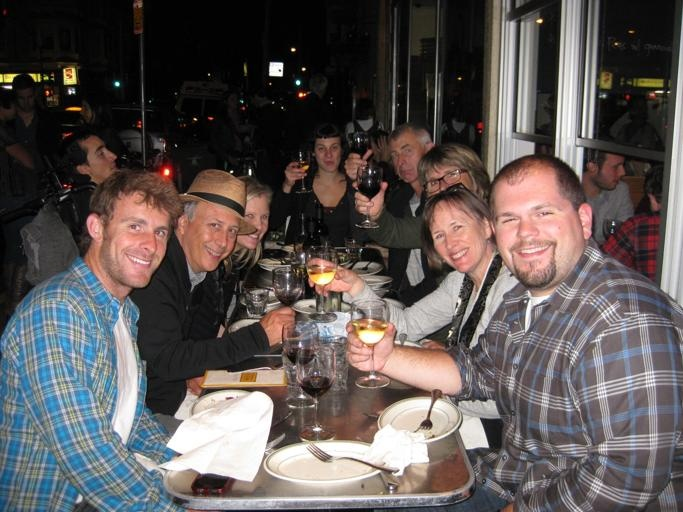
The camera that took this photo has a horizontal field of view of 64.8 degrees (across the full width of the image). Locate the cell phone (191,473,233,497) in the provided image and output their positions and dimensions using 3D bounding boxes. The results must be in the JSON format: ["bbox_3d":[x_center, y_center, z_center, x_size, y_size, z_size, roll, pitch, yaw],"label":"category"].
[{"bbox_3d":[-0.376,0.661,1.554,0.110,0.025,0.074,1,9,3],"label":"cell phone"}]

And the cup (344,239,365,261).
[{"bbox_3d":[0.091,-0.049,4.179,0.167,0.184,0.168,0,6,0],"label":"cup"}]

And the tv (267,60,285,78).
[{"bbox_3d":[-1.599,-4.518,13.120,0.495,0.466,0.116,4,-3,15],"label":"tv"}]
